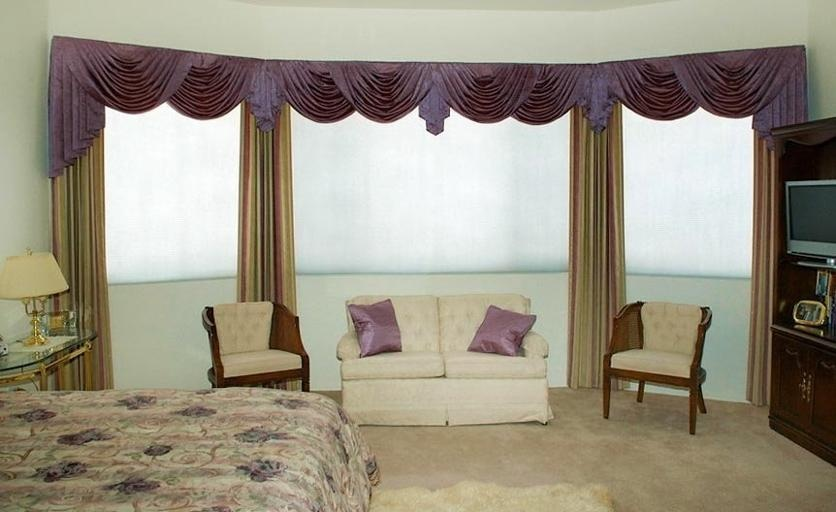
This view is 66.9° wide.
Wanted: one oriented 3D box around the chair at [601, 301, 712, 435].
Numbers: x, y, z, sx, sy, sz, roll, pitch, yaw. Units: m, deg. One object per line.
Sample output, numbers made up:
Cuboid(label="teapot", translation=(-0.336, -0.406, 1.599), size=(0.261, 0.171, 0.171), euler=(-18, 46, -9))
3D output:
Cuboid(label="chair", translation=(2.744, 1.258, 7.309), size=(1.101, 1.340, 0.746), euler=(0, 5, 24))

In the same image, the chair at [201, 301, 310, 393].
Cuboid(label="chair", translation=(-1.841, 1.019, 7.589), size=(1.163, 1.299, 1.084), euler=(0, -6, -27))

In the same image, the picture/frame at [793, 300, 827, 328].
Cuboid(label="picture/frame", translation=(4.238, 0.632, 6.888), size=(0.325, 0.259, 0.173), euler=(1, 5, 32))

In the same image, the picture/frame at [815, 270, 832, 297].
Cuboid(label="picture/frame", translation=(4.408, 0.305, 6.904), size=(0.083, 0.284, 0.178), euler=(-4, 5, -25))
